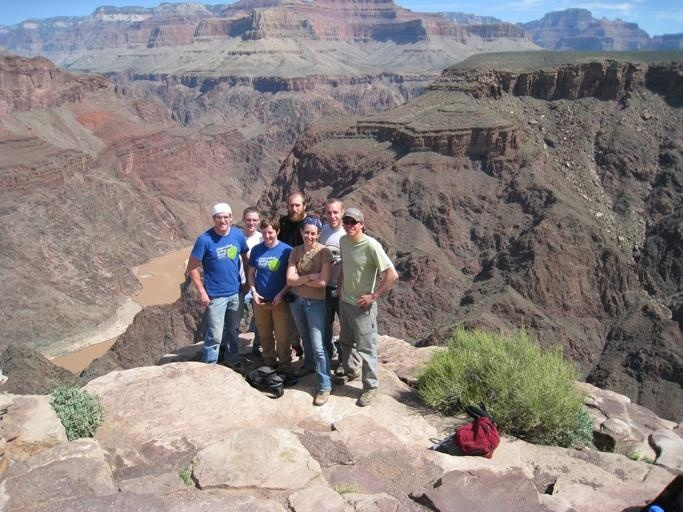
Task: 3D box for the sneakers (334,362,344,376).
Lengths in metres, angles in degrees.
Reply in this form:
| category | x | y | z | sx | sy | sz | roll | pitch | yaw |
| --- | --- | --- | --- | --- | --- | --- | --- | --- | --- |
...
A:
| category | x | y | z | sx | sy | sz | roll | pitch | yaw |
| --- | --- | --- | --- | --- | --- | --- | --- | --- | --- |
| sneakers | -0.040 | 2.224 | 11.623 | 0.141 | 0.181 | 0.062 | -8 | -21 | 34 |

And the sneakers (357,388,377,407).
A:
| category | x | y | z | sx | sy | sz | roll | pitch | yaw |
| --- | --- | --- | --- | --- | --- | --- | --- | --- | --- |
| sneakers | 0.474 | 2.611 | 10.995 | 0.212 | 0.186 | 0.441 | 9 | 1 | 14 |

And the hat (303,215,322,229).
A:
| category | x | y | z | sx | sy | sz | roll | pitch | yaw |
| --- | --- | --- | --- | --- | --- | --- | --- | --- | --- |
| hat | -0.537 | -0.622 | 10.994 | 0.259 | 0.278 | 0.302 | -14 | -29 | -6 |

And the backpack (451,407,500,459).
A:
| category | x | y | z | sx | sy | sz | roll | pitch | yaw |
| --- | --- | --- | --- | --- | --- | --- | --- | --- | --- |
| backpack | 2.208 | 2.956 | 9.887 | 0.633 | 0.348 | 0.795 | -8 | 22 | -17 |

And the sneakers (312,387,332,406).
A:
| category | x | y | z | sx | sy | sz | roll | pitch | yaw |
| --- | --- | --- | --- | --- | --- | --- | --- | --- | --- |
| sneakers | -0.357 | 2.585 | 10.975 | 0.312 | 0.264 | 0.357 | 4 | 14 | 1 |

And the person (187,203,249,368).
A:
| category | x | y | z | sx | sy | sz | roll | pitch | yaw |
| --- | --- | --- | --- | --- | --- | --- | --- | --- | --- |
| person | -2.474 | 0.640 | 11.958 | 1.090 | 3.432 | 0.993 | 2 | 14 | -9 |

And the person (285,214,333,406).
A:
| category | x | y | z | sx | sy | sz | roll | pitch | yaw |
| --- | --- | --- | --- | --- | --- | --- | --- | --- | --- |
| person | -0.513 | 0.962 | 11.055 | 0.751 | 3.326 | 1.169 | -7 | 19 | -40 |

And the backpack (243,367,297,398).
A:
| category | x | y | z | sx | sy | sz | roll | pitch | yaw |
| --- | --- | --- | --- | --- | --- | --- | --- | --- | --- |
| backpack | -1.367 | 2.332 | 11.282 | 1.005 | 0.385 | 0.456 | 16 | 25 | 39 |

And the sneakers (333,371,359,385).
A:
| category | x | y | z | sx | sy | sz | roll | pitch | yaw |
| --- | --- | --- | --- | --- | --- | --- | --- | --- | --- |
| sneakers | 0.067 | 2.357 | 11.446 | 0.573 | 0.236 | 0.207 | 3 | 2 | -29 |

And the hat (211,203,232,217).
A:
| category | x | y | z | sx | sy | sz | roll | pitch | yaw |
| --- | --- | --- | --- | --- | --- | --- | --- | --- | --- |
| hat | -2.398 | -0.932 | 11.597 | 0.317 | 0.175 | 0.307 | -4 | -4 | 32 |

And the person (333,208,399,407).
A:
| category | x | y | z | sx | sy | sz | roll | pitch | yaw |
| --- | --- | --- | --- | --- | --- | --- | --- | --- | --- |
| person | 0.369 | 0.917 | 10.935 | 1.144 | 3.541 | 0.668 | 18 | 19 | 42 |
